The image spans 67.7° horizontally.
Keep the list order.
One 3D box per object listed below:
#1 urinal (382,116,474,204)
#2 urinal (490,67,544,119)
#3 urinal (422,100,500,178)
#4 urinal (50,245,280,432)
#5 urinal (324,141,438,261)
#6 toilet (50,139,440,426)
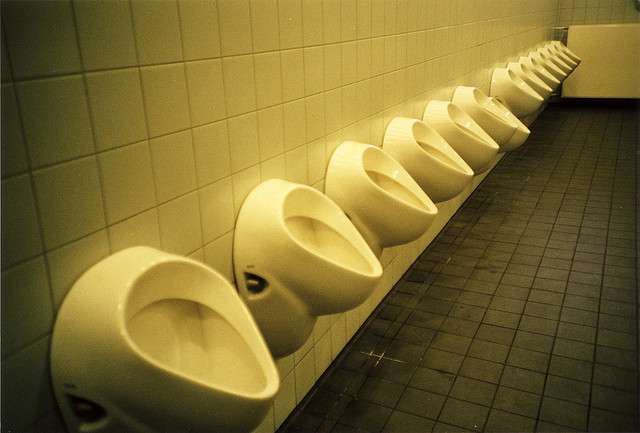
[{"bbox_3d":[0.710,-0.394,3.112,0.445,0.640,0.512,-54,-3,30],"label":"urinal"},{"bbox_3d":[2.133,-1.273,5.046,0.413,0.476,0.552,-17,35,-34],"label":"urinal"},{"bbox_3d":[1.008,-0.501,3.728,0.472,0.690,0.523,-51,-7,27],"label":"urinal"},{"bbox_3d":[-0.489,0.417,1.656,0.658,0.664,0.530,17,28,18],"label":"urinal"},{"bbox_3d":[0.363,-0.056,2.650,0.583,0.650,0.493,10,22,19],"label":"urinal"},{"bbox_3d":[-0.283,0.256,1.866,0.444,0.447,1.301,11,27,26],"label":"toilet"}]
